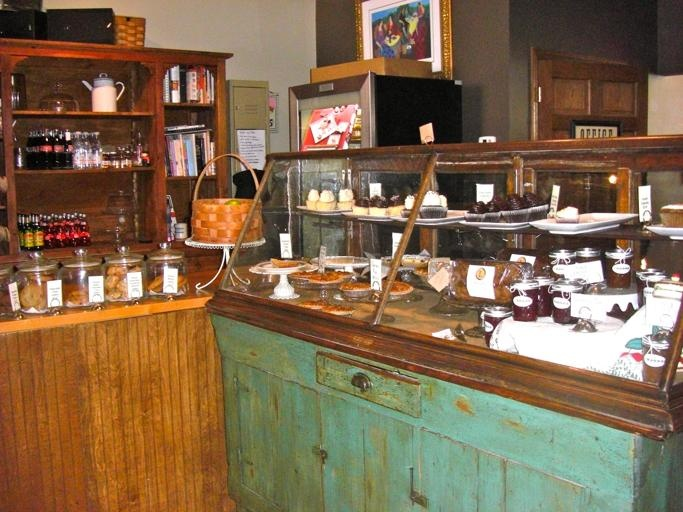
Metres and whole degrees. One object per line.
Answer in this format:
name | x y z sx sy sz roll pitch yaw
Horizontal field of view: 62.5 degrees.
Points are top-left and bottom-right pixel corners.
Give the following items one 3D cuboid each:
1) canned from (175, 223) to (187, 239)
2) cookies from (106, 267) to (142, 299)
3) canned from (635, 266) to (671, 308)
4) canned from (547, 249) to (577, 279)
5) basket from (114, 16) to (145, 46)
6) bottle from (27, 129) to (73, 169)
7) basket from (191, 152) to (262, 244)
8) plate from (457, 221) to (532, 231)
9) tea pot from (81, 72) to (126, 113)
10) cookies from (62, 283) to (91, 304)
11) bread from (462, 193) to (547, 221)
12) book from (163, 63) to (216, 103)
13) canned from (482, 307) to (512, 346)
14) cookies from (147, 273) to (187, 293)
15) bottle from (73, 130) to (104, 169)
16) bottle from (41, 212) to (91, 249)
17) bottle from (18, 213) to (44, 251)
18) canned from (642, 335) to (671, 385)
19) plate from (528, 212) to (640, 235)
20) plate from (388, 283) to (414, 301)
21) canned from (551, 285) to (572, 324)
canned | -1.356 -0.212 4.744 0.126 0.118 0.123 -4 10 -30
cookies | -1.086 0.127 2.798 0.171 0.146 0.168 2 -1 -30
canned | 0.956 0.085 1.762 0.126 0.128 0.121 3 12 23
canned | 0.758 0.020 1.911 0.093 0.087 0.089 1 1 3
basket | -1.683 -1.767 4.483 0.291 0.254 0.281 -8 22 -31
bottle | -2.200 -0.821 4.388 0.358 0.303 0.344 7 11 18
basket | -0.647 -0.331 3.152 0.392 0.478 0.384 0 8 -6
plate | 0.519 -0.105 1.944 0.257 0.031 0.063 5 8 44
tea pot | -1.913 -1.327 4.556 0.341 0.381 0.445 -4 6 -25
cookies | -1.261 0.177 2.683 0.105 0.071 0.100 2 3 10
bread | 0.568 -0.168 1.940 0.276 0.097 0.100 1 6 17
book | -1.282 -1.451 4.654 0.369 0.323 0.185 -2 18 -19
canned | 0.501 0.223 1.826 0.097 0.114 0.104 1 6 21
cookies | -0.923 0.142 2.951 0.135 0.089 0.130 0 5 -22
bottle | -2.019 -0.849 4.447 0.221 0.319 0.328 -4 6 -24
bottle | -2.169 -0.202 4.408 0.331 0.253 0.172 -5 7 -31
bottle | -2.316 -0.178 4.183 0.163 0.258 0.150 -1 6 0
canned | 0.838 0.269 1.481 0.058 0.127 0.075 -1 6 3
plate | 0.827 -0.108 1.870 0.352 0.067 0.196 -5 7 -30
plate | 0.225 0.128 2.104 0.078 0.021 0.074 -3 11 -15
canned | 0.688 0.146 1.777 0.049 0.119 0.092 -3 6 -20
